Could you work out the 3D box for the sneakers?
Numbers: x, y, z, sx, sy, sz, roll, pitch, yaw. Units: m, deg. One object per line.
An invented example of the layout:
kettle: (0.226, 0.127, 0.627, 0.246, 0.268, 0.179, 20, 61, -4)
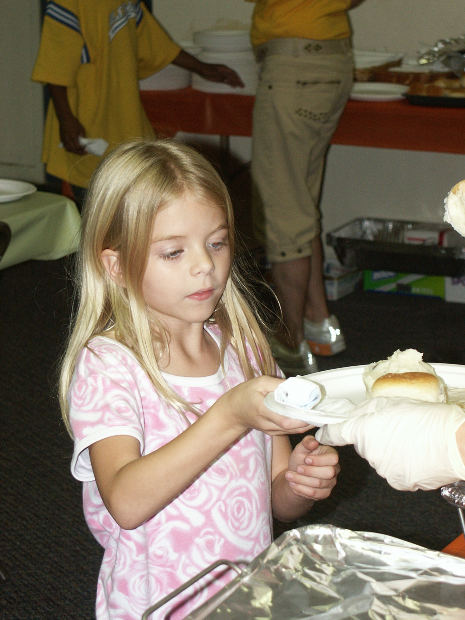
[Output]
sneakers: (0.322, 0.163, 2.617, 0.184, 0.208, 0.481, -30, 17, -13)
